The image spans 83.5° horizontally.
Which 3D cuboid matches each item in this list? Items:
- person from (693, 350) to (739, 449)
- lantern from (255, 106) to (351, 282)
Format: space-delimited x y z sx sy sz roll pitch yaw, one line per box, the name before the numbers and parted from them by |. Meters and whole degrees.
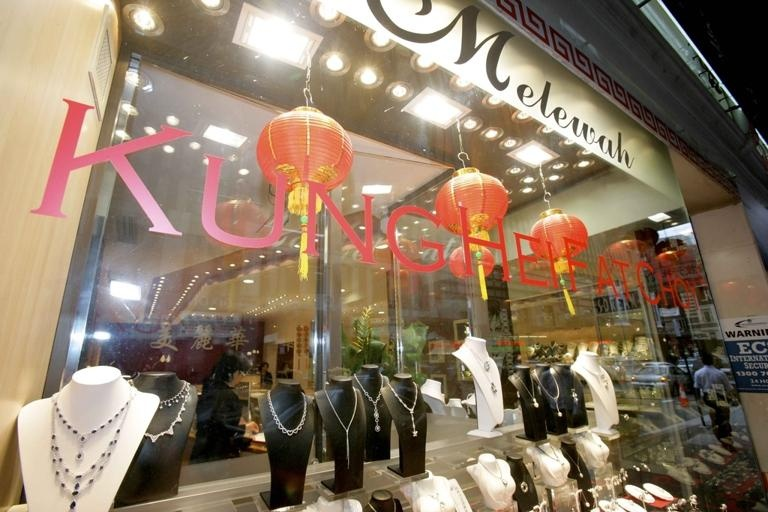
person | 2.839 1.207 3.652 0.323 0.780 0.105 2 -19 -17
lantern | -0.464 -0.374 2.519 0.547 0.988 0.556 -2 -3 43
